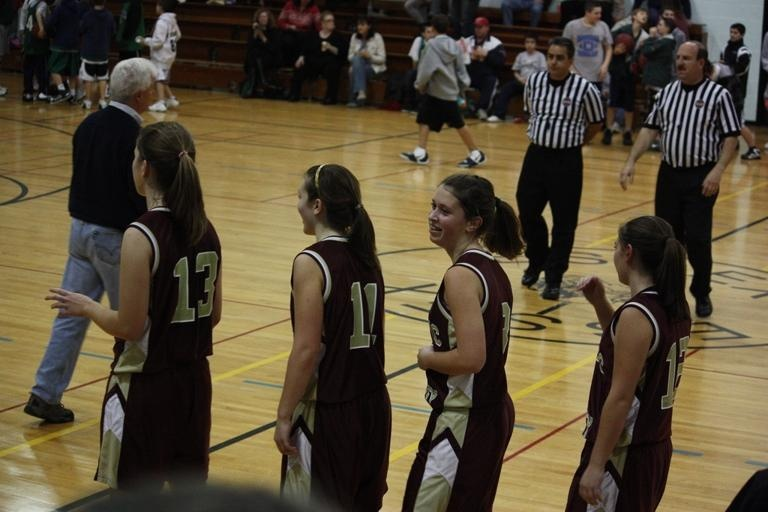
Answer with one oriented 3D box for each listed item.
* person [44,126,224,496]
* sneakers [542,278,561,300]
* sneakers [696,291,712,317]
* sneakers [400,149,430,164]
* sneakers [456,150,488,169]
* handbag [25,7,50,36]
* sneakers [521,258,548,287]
[{"bbox_3d":[-1.059,0.220,3.487,0.605,1.650,0.352,2,9,-13],"label":"person"},{"bbox_3d":[1.543,0.303,7.083,0.094,0.174,0.249,-4,19,-18],"label":"sneakers"},{"bbox_3d":[2.765,0.436,6.645,0.092,0.198,0.276,-5,12,20],"label":"sneakers"},{"bbox_3d":[0.503,-1.546,11.756,0.495,0.243,0.182,8,24,6],"label":"sneakers"},{"bbox_3d":[1.296,-1.433,11.558,0.508,0.196,0.231,-22,-42,35],"label":"sneakers"},{"bbox_3d":[-7.291,-4.905,16.230,0.222,0.650,0.499,-4,37,-1],"label":"handbag"},{"bbox_3d":[1.433,0.147,7.307,0.118,0.152,0.347,5,30,29],"label":"sneakers"}]
